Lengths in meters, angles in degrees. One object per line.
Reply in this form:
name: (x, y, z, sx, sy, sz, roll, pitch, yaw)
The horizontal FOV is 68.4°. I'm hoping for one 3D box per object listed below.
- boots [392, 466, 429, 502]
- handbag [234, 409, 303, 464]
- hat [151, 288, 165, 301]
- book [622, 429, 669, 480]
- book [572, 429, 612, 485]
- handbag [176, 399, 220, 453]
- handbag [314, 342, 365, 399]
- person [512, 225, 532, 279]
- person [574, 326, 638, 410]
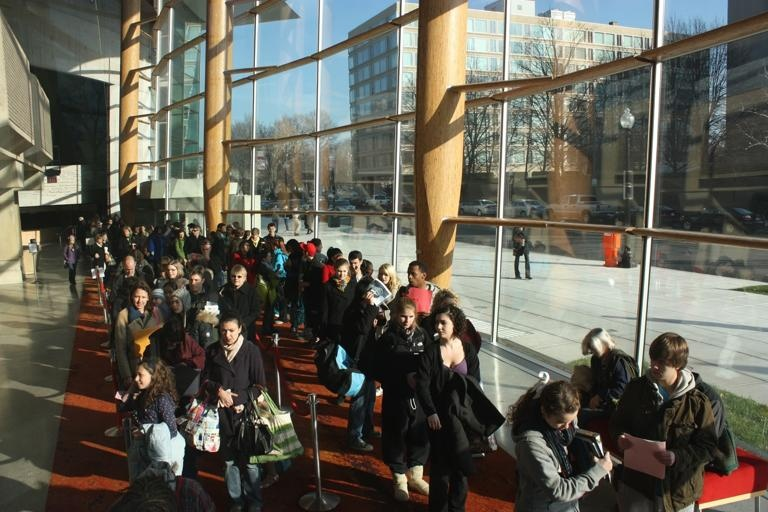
boots: (0.340, 2.995, 7.503, 0.462, 0.430, 0.393, 1, -3, -32)
handbag: (-1.383, 2.244, 6.876, 0.766, 0.689, 0.263, 2, 4, -7)
hat: (-3.693, 0.633, 9.207, 0.180, 0.188, 0.247, 5, 9, 31)
book: (2.654, 2.106, 5.769, 0.529, 0.498, 0.055, 1, 7, -11)
book: (2.137, 2.040, 5.857, 0.094, 0.470, 0.491, -10, -3, -9)
handbag: (-2.240, 2.063, 6.810, 0.637, 0.678, 0.396, -5, -13, 28)
handbag: (-0.629, 1.660, 8.157, 0.718, 0.859, 0.326, 2, 4, -4)
person: (2.624, -0.042, 10.771, 0.348, 0.980, 0.346, 4, 5, 23)
person: (3.004, 1.532, 7.476, 0.804, 1.009, 0.829, 1, 1, -21)
